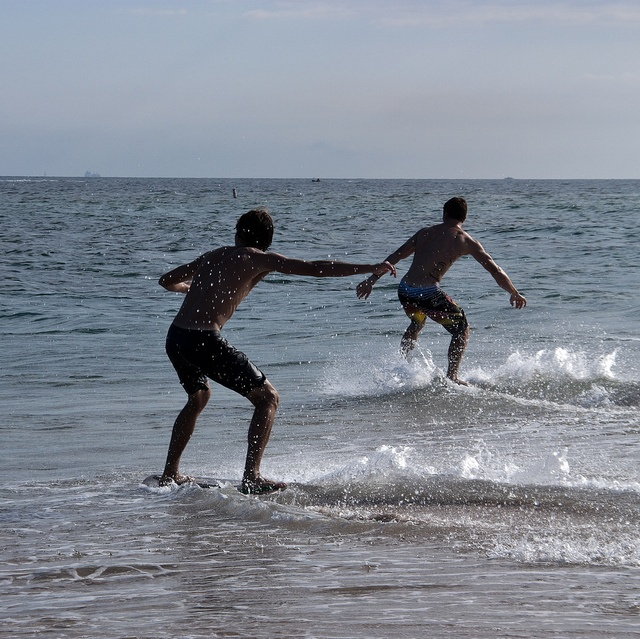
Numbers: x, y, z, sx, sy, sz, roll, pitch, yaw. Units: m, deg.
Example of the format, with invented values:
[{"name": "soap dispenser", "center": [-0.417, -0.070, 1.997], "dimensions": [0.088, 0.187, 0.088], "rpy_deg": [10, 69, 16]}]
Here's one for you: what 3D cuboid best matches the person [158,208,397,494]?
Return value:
[{"name": "person", "center": [-0.476, 0.179, 8.284], "dimensions": [1.186, 1.735, 0.630], "rpy_deg": [0, 10, 5]}]
